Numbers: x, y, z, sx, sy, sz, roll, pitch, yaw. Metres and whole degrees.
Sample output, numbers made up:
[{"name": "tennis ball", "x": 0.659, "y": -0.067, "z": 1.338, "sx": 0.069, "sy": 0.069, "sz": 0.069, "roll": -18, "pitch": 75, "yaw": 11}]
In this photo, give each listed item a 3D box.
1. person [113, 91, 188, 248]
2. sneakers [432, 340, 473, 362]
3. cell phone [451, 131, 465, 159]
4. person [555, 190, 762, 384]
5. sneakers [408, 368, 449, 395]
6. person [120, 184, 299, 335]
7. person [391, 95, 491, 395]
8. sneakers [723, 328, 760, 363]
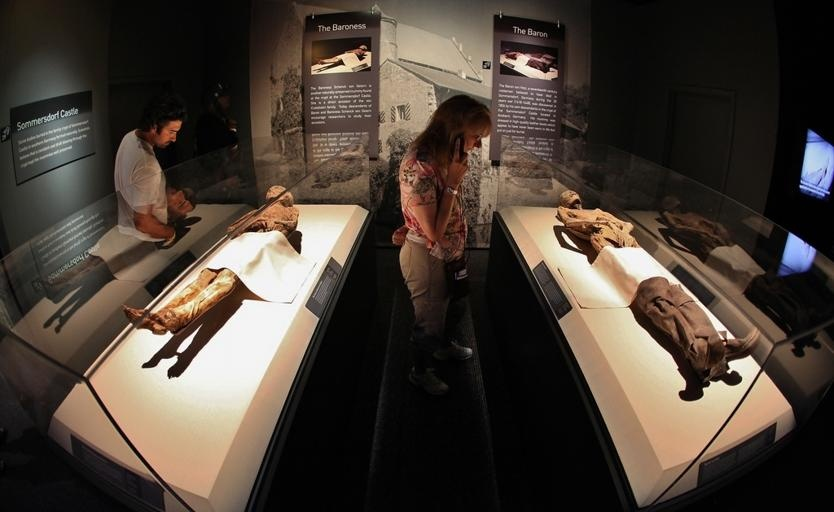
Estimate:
[{"name": "person", "x": -1.662, "y": -0.524, "z": 2.868, "sx": 0.513, "sy": 0.876, "sz": 0.612, "roll": -5, "pitch": 40, "yaw": -33}, {"name": "sneakers", "x": 0.303, "y": 0.763, "z": 3.679, "sx": 0.341, "sy": 0.144, "sz": 0.143, "roll": -2, "pitch": 5, "yaw": -4}, {"name": "cell phone", "x": 0.252, "y": -0.669, "z": 2.768, "sx": 0.092, "sy": 0.152, "sz": 0.040, "roll": 2, "pitch": 22, "yaw": -1}, {"name": "person", "x": 1.464, "y": 0.113, "z": 2.834, "sx": 0.401, "sy": 0.214, "sz": 1.184, "roll": 5, "pitch": 37, "yaw": -23}, {"name": "sneakers", "x": 0.085, "y": 0.918, "z": 3.334, "sx": 0.292, "sy": 0.128, "sz": 0.151, "roll": 15, "pitch": 23, "yaw": 10}, {"name": "person", "x": -1.199, "y": 0.030, "z": 2.935, "sx": 0.409, "sy": 0.325, "sz": 1.232, "roll": 12, "pitch": 47, "yaw": 18}, {"name": "person", "x": 0.139, "y": -0.133, "z": 2.985, "sx": 0.568, "sy": 1.742, "sz": 0.300, "roll": -1, "pitch": 23, "yaw": -6}, {"name": "sneakers", "x": 1.690, "y": 0.466, "z": 2.361, "sx": 0.086, "sy": 0.211, "sz": 0.074, "roll": 3, "pitch": 63, "yaw": -18}]
